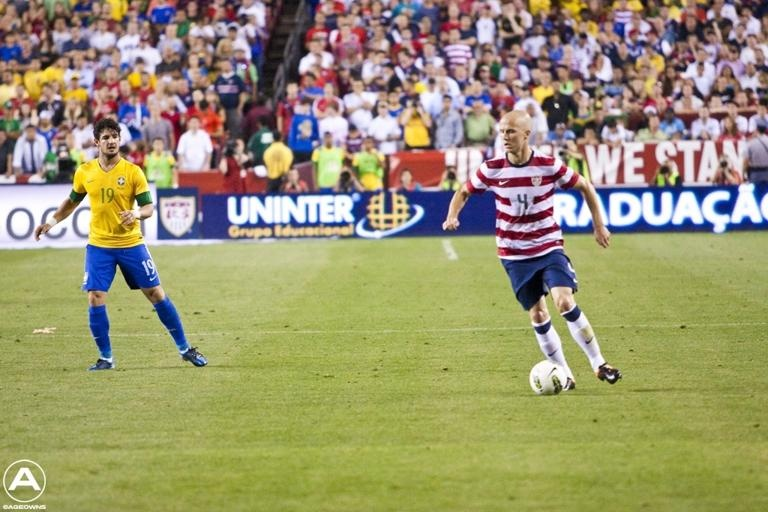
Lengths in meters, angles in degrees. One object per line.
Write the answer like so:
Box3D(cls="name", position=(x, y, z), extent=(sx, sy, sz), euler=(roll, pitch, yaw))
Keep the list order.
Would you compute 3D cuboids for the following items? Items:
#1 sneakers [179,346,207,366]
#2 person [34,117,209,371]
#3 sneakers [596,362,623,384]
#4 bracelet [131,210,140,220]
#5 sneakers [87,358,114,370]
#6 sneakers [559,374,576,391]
Box3D(cls="sneakers", position=(-2.607, 1.368, 16.985), extent=(0.389, 0.162, 0.199), euler=(11, 18, 24))
Box3D(cls="person", position=(-3.540, -0.168, 16.838), extent=(1.515, 3.354, 0.661), euler=(-4, 6, -8))
Box3D(cls="sneakers", position=(2.860, 1.507, 15.859), extent=(0.229, 0.138, 0.304), euler=(8, -3, 22))
Box3D(cls="bracelet", position=(-3.303, -0.544, 16.550), extent=(0.117, 0.101, 0.114), euler=(3, -3, 3))
Box3D(cls="sneakers", position=(-3.884, 1.484, 16.876), extent=(0.373, 0.146, 0.137), euler=(1, -3, 0))
Box3D(cls="sneakers", position=(2.373, 1.627, 15.944), extent=(0.149, 0.185, 0.090), euler=(10, -5, 14))
